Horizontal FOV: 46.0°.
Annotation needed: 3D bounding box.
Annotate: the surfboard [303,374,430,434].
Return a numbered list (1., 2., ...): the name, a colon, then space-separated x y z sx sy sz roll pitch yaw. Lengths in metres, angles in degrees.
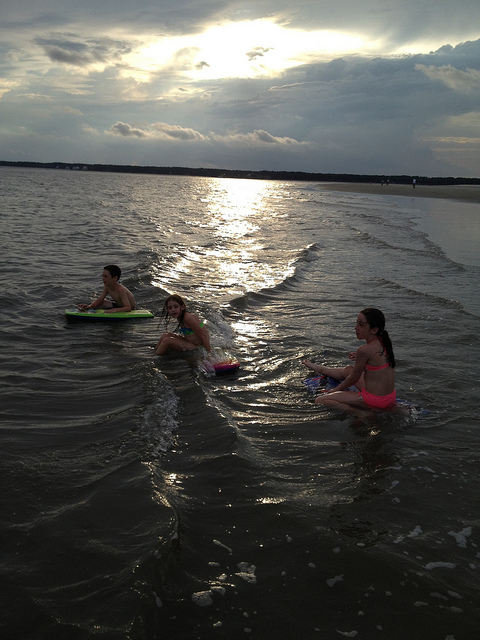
1. surfboard: 1.454 1.064 6.823 1.148 0.182 0.585 17 22 36

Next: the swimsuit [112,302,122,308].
1. swimsuit: -2.304 -0.263 10.536 0.073 0.092 0.194 -14 22 -41

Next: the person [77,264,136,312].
1. person: -2.428 -0.647 10.581 1.140 0.875 0.778 -5 25 -37

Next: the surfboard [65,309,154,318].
1. surfboard: -2.357 -0.107 10.249 1.512 0.136 0.465 -1 8 -24

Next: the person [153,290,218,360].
1. person: -0.908 0.113 9.312 0.993 1.020 0.507 13 40 5
